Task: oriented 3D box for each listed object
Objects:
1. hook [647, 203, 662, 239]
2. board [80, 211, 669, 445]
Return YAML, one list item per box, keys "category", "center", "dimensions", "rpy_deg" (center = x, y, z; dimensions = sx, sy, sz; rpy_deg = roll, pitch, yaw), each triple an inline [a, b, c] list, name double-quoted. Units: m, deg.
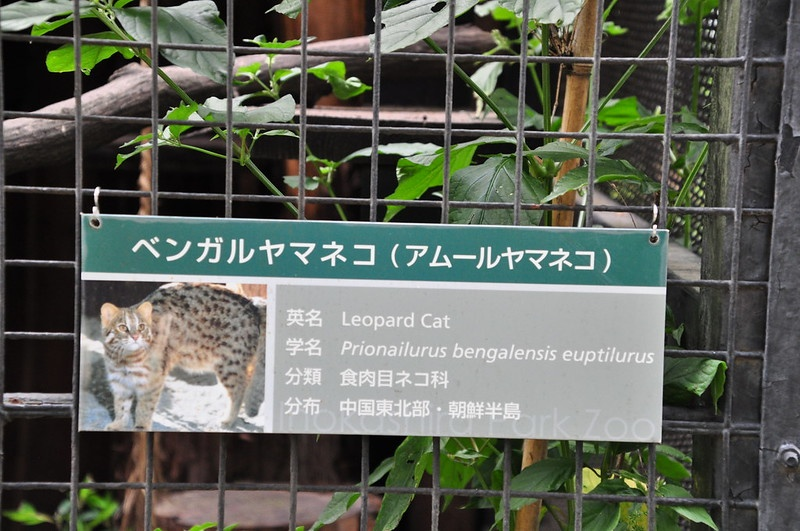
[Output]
- category: "hook"
  center: [1.085, -0.172, 6.302]
  dimensions: [0.033, 0.189, 0.069]
  rpy_deg: [0, -12, 12]
- category: "board"
  center: [-0.163, 0.251, 6.315]
  dimensions: [2.507, 0.994, 0.035]
  rpy_deg: [2, 18, 6]
